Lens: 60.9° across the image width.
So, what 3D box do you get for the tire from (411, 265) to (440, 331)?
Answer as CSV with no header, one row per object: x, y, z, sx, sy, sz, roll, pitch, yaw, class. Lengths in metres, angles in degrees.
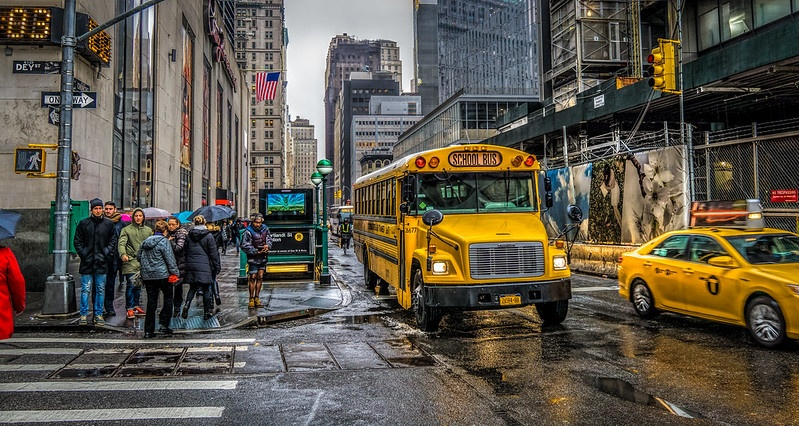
0.969,3.020,24.326,1.261,2.520,2.227,-2,-5,-6,tire

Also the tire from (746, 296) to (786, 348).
12.370,3.626,22.822,0.594,1.758,1.565,2,-10,-39,tire

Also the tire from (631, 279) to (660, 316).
9.219,3.122,25.324,0.410,1.166,1.185,3,16,-32,tire
